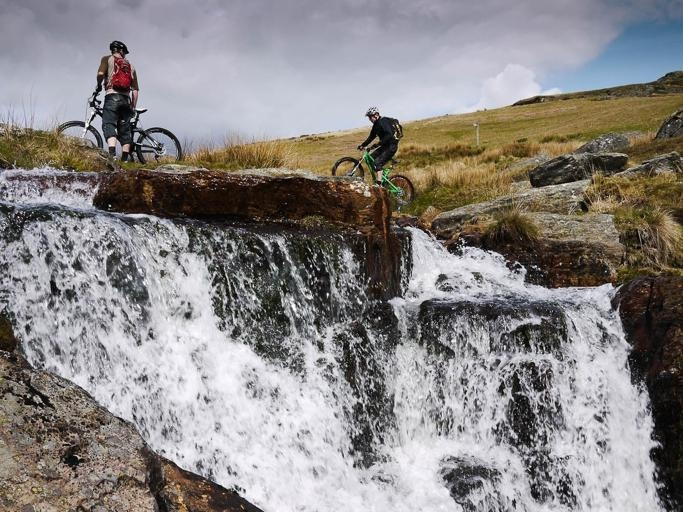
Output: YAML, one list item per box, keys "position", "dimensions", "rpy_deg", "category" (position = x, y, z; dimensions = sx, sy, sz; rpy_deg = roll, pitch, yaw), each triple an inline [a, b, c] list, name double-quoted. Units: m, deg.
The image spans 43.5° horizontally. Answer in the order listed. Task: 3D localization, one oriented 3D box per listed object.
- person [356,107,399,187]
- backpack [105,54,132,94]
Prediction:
- position: [0.947, -2.627, 20.315]
  dimensions: [0.940, 1.803, 1.554]
  rpy_deg: [-2, 7, 5]
  category: "person"
- position: [-4.417, -3.651, 16.959]
  dimensions: [0.595, 0.829, 0.404]
  rpy_deg: [-6, 7, -20]
  category: "backpack"
